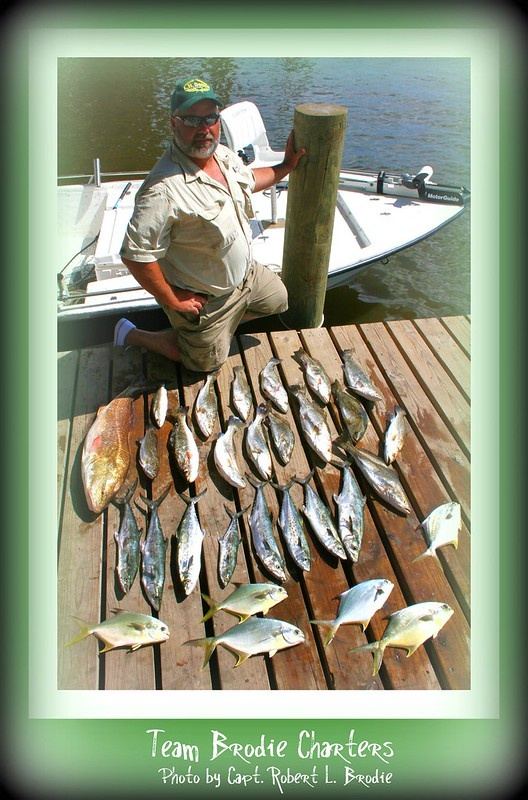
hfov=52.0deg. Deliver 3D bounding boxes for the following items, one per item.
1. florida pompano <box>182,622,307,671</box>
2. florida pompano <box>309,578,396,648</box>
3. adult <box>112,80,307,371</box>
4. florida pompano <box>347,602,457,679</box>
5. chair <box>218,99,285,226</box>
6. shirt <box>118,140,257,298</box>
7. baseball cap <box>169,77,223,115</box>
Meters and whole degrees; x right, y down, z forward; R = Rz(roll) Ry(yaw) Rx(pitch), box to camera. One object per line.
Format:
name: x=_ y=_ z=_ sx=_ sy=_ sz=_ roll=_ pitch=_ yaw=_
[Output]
florida pompano: x=-0.074 y=0.903 z=2.005 sx=0.429 sy=0.132 sz=0.124 roll=-1 pitch=31 yaw=-13
florida pompano: x=0.362 y=0.825 z=2.134 sx=0.363 sy=0.080 sz=0.158 roll=-28 pitch=38 yaw=-21
adult: x=-0.286 y=-0.975 z=3.117 sx=0.645 sy=1.485 sz=1.229 roll=30 pitch=46 yaw=30
florida pompano: x=0.548 y=0.890 z=2.077 sx=0.419 sy=0.115 sz=0.171 roll=-23 pitch=38 yaw=-15
chair: x=-0.177 y=-2.786 z=5.754 sx=0.590 sy=0.756 sz=0.530 roll=-37 pitch=57 yaw=-8
shirt: x=-0.378 y=-0.857 z=2.757 sx=0.708 sy=0.766 sz=0.342 roll=-5 pitch=31 yaw=-18
baseball cap: x=-0.371 y=-1.491 z=2.691 sx=0.178 sy=0.129 sz=0.246 roll=-18 pitch=46 yaw=-15
